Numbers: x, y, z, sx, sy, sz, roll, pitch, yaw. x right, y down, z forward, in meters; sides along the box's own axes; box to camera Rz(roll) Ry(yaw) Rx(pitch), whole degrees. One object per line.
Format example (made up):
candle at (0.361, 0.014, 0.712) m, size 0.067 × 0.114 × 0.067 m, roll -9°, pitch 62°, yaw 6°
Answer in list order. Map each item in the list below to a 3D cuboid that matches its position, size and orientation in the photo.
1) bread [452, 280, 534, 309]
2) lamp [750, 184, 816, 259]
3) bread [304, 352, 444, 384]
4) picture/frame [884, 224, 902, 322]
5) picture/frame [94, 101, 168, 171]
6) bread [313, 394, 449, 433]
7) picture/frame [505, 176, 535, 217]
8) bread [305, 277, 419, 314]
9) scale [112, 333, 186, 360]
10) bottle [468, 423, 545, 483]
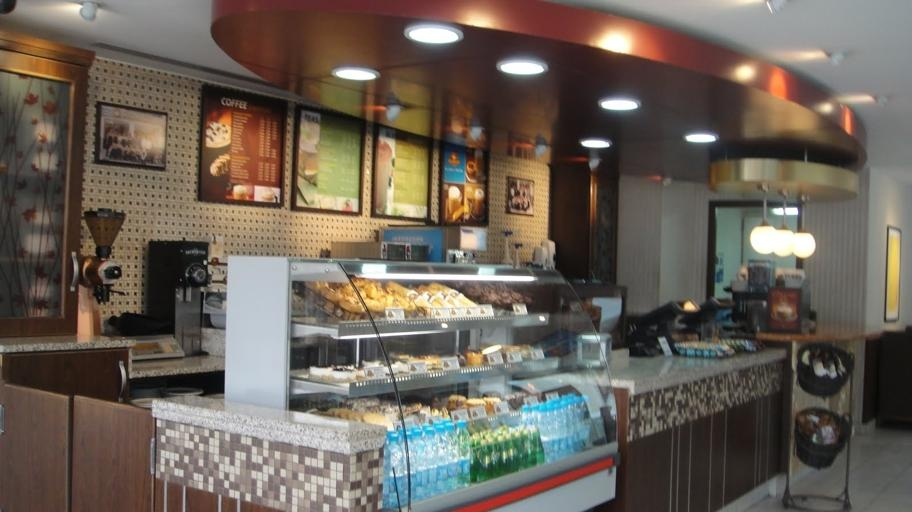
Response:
bread at (0.331, 0.317, 5.986) m, size 0.440 × 0.252 × 0.061 m, roll 1°, pitch -14°, yaw -29°
lamp at (4.540, -0.464, 9.945) m, size 0.711 × 0.914 × 1.753 m, roll -1°, pitch -1°, yaw 26°
bread at (-0.531, 0.826, 5.364) m, size 1.122 × 0.177 × 0.264 m, roll 0°, pitch -1°, yaw -21°
picture/frame at (7.426, 0.350, 12.204) m, size 0.050 × 1.616 × 1.464 m, roll 2°, pitch 1°, yaw 39°
picture/frame at (-3.522, -1.289, 7.679) m, size 0.815 × 0.713 × 0.064 m, roll 3°, pitch -6°, yaw -30°
bread at (-0.519, 1.154, 5.317) m, size 1.091 × 0.244 × 0.281 m, roll 0°, pitch -1°, yaw -18°
picture/frame at (0.931, -0.905, 10.736) m, size 0.635 × 0.555 × 0.064 m, roll 5°, pitch -7°, yaw -42°
bread at (-0.690, 0.289, 5.370) m, size 0.816 × 0.248 × 0.263 m, roll -1°, pitch -1°, yaw -10°
scale at (-3.090, 0.938, 7.382) m, size 0.426 × 0.098 × 0.302 m, roll 3°, pitch 36°, yaw -38°
bottle at (0.407, 1.566, 5.765) m, size 0.338 × 0.195 × 0.566 m, roll 0°, pitch 1°, yaw 42°
